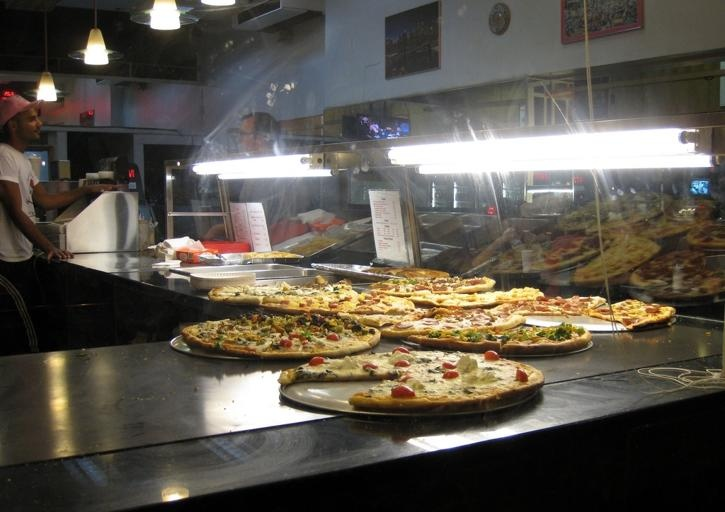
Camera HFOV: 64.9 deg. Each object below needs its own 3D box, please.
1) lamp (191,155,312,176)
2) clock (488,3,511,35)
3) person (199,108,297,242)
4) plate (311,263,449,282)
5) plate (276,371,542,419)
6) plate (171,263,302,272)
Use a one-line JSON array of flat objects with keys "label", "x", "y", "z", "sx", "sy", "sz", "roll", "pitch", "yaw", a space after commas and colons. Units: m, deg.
[{"label": "lamp", "x": -0.639, "y": -0.528, "z": 3.314, "sx": 0.982, "sy": 0.106, "sz": 0.076, "roll": 1, "pitch": -15, "yaw": 33}, {"label": "clock", "x": 1.217, "y": -2.062, "z": 4.965, "sx": 0.044, "sy": 0.276, "sz": 0.234, "roll": -9, "pitch": 14, "yaw": -32}, {"label": "person", "x": -0.531, "y": -0.644, "z": 4.254, "sx": 1.007, "sy": 1.051, "sz": 0.782, "roll": -2, "pitch": 28, "yaw": -1}, {"label": "plate", "x": 0.043, "y": 0.083, "z": 3.100, "sx": 0.719, "sy": 0.041, "sz": 0.200, "roll": 1, "pitch": 2, "yaw": 31}, {"label": "plate", "x": 0.103, "y": 0.338, "z": 1.369, "sx": 0.649, "sy": 0.040, "sz": 0.180, "roll": 1, "pitch": 10, "yaw": 5}, {"label": "plate", "x": -0.752, "y": 0.071, "z": 3.537, "sx": 0.429, "sy": 0.041, "sz": 0.222, "roll": -1, "pitch": 3, "yaw": -15}]
